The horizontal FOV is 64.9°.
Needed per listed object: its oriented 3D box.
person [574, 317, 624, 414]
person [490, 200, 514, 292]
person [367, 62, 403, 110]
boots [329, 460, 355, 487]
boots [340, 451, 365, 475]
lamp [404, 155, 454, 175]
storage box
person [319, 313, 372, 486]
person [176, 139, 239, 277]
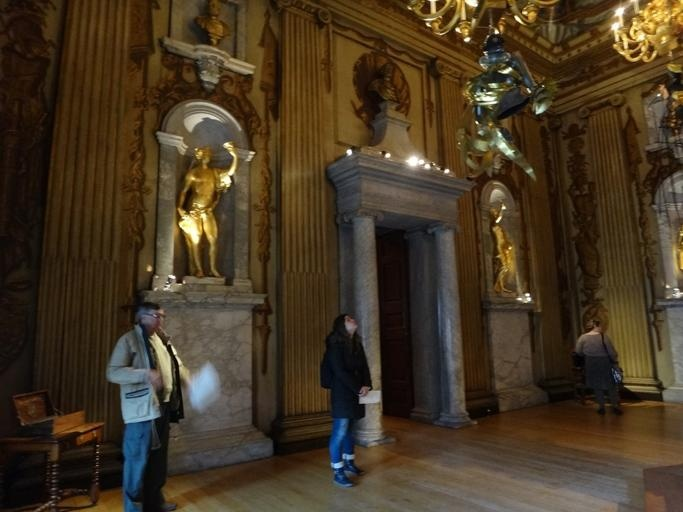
[{"bbox_3d":[3.698,1.578,7.692,0.430,1.300,0.615,-2,-3,-2],"label":"person"},{"bbox_3d":[2.576,-0.124,8.554,0.226,1.435,0.660,-5,-4,41],"label":"person"},{"bbox_3d":[0.615,-2.429,7.543,0.326,0.731,0.514,-3,-3,22],"label":"person"},{"bbox_3d":[0.014,2.036,4.985,0.131,0.174,0.272,7,-17,-32],"label":"boots"},{"bbox_3d":[0.083,2.018,5.227,0.296,0.180,0.117,-1,-5,21],"label":"boots"},{"bbox_3d":[1.075,-1.210,7.090,0.816,0.287,0.279,0,-4,-33],"label":"lamp"},{"bbox_3d":[-2.425,1.253,4.458,0.370,0.295,0.466,-5,-11,0],"label":"storage box"},{"bbox_3d":[0.047,1.332,5.070,0.451,1.549,0.479,-2,-3,4],"label":"person"},{"bbox_3d":[-1.512,-0.534,6.099,0.677,1.563,0.366,-1,-3,-16],"label":"person"}]
